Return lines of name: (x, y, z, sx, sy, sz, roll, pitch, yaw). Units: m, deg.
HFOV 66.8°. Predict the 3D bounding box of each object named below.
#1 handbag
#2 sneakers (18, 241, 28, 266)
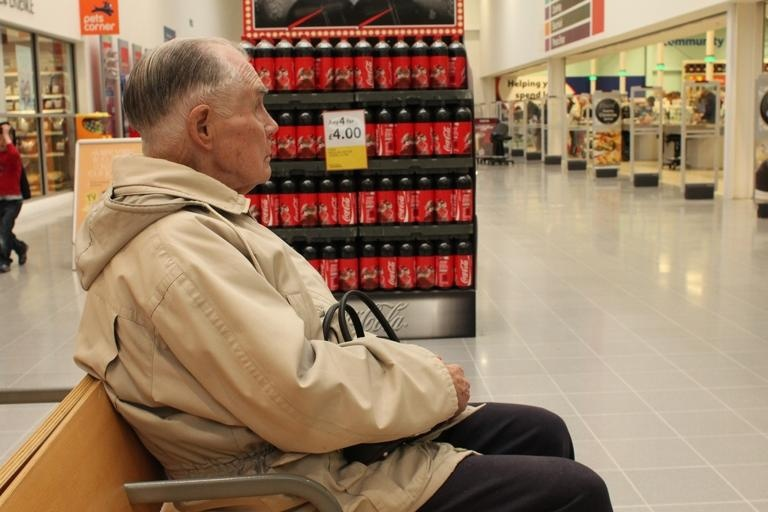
handbag: (-0.046, 0.302, 2.052, 0.219, 0.352, 0.185, -10, 19, 9)
sneakers: (-4.660, -0.023, 7.522, 0.172, 0.303, 0.124, 6, -1, 31)
